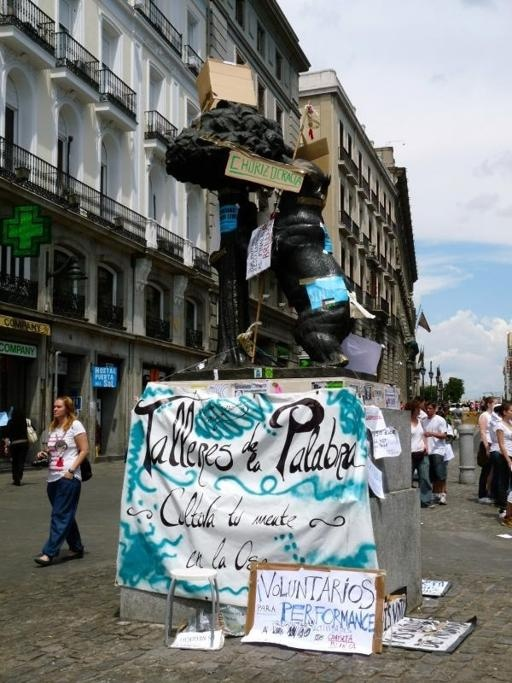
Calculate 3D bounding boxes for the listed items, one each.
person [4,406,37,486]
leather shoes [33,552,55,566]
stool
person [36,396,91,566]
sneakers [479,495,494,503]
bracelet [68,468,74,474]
[{"bbox_3d":[-4.575,2.076,16.018,0.545,1.443,1.245,2,-5,-17],"label":"person"},{"bbox_3d":[-1.913,2.024,7.556,0.090,0.126,0.284,-9,-26,16],"label":"leather shoes"},{"bbox_3d":[-0.371,1.574,4.838,0.368,0.427,0.370,1,-1,-8],"label":"stool"},{"bbox_3d":[-1.844,1.335,7.922,0.487,1.574,0.834,2,-5,-14],"label":"person"},{"bbox_3d":[3.630,2.539,13.088,0.082,0.116,0.234,1,1,40],"label":"sneakers"},{"bbox_3d":[-1.743,1.247,7.774,0.031,0.047,0.024,1,-2,-18],"label":"bracelet"}]
